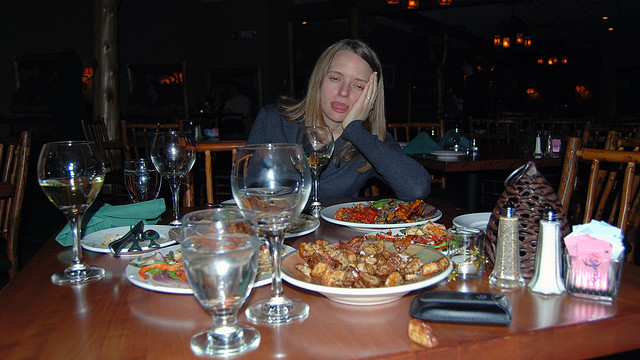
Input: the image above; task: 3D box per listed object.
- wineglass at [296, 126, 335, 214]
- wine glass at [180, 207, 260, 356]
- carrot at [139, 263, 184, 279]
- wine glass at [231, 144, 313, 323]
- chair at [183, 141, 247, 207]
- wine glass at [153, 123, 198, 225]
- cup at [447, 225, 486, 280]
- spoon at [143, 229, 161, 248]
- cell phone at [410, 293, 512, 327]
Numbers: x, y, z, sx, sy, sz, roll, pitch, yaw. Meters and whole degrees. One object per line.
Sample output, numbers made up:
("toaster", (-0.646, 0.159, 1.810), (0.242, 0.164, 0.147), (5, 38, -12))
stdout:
("wineglass", (-0.025, -0.052, 1.888), (0.180, 0.381, 0.177), (3, 5, 38))
("wine glass", (-0.240, 0.234, 1.006), (0.169, 0.335, 0.151), (-5, 10, -21))
("carrot", (-0.464, 0.249, 1.209), (0.098, 0.015, 0.054), (-5, 17, -22))
("wine glass", (-0.129, 0.136, 1.141), (0.228, 0.432, 0.200), (-2, 0, 8))
("chair", (-0.536, -0.045, 2.261), (0.391, 0.487, 0.520), (1, 6, -9))
("wine glass", (-0.559, -0.013, 1.625), (0.148, 0.340, 0.211), (0, 9, 7))
("cup", (0.418, 0.221, 1.269), (0.143, 0.134, 0.117), (-1, 1, -2))
("spoon", (-0.559, 0.194, 1.392), (0.051, 0.028, 0.076), (-1, 22, -13))
("cell phone", (0.356, 0.318, 1.048), (0.196, 0.046, 0.100), (-1, 9, 6))
